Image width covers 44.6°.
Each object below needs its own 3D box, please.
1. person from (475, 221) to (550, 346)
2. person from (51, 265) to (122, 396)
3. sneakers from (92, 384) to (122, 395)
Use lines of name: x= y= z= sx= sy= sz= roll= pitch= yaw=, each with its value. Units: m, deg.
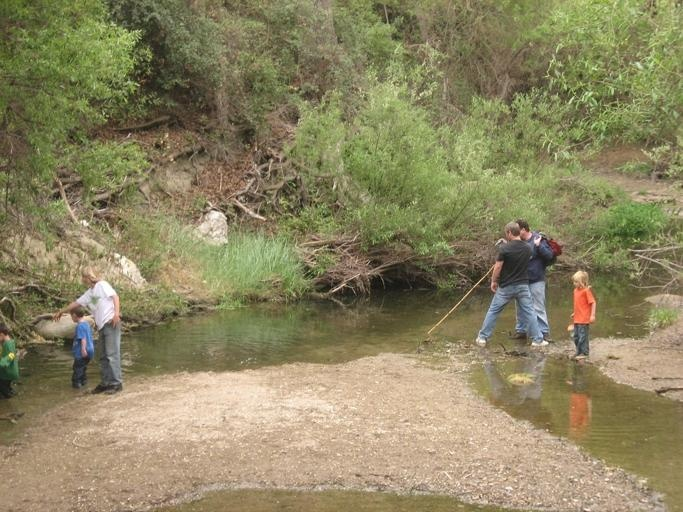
person: x=3.671 y=0.592 z=17.850 sx=1.399 sy=2.682 sz=0.616 roll=2 pitch=12 yaw=7
person: x=-4.444 y=1.383 z=15.559 sx=0.665 sy=2.185 sz=0.889 roll=-5 pitch=13 yaw=-27
sneakers: x=-4.344 y=2.466 z=15.463 sx=0.385 sy=0.145 sz=0.216 roll=5 pitch=-9 yaw=-4
